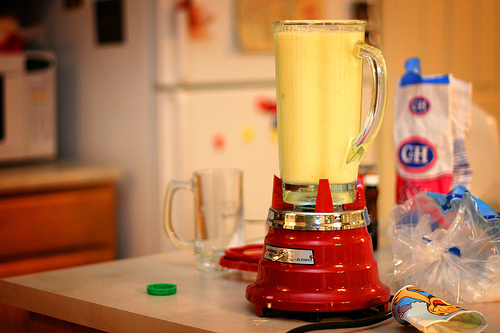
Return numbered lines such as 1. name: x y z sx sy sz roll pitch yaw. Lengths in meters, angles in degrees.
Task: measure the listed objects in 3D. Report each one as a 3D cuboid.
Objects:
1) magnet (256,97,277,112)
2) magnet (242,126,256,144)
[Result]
1. magnet: 0.057 -0.208 1.709 0.064 0.047 0.050 1 4 23
2. magnet: -0.005 -0.109 1.701 0.050 0.037 0.049 -1 2 -15
